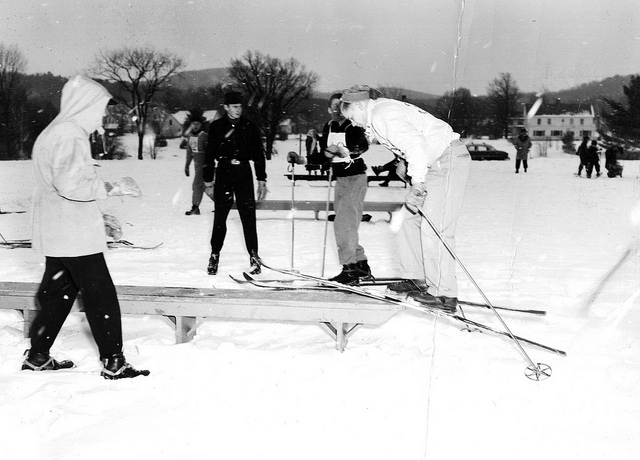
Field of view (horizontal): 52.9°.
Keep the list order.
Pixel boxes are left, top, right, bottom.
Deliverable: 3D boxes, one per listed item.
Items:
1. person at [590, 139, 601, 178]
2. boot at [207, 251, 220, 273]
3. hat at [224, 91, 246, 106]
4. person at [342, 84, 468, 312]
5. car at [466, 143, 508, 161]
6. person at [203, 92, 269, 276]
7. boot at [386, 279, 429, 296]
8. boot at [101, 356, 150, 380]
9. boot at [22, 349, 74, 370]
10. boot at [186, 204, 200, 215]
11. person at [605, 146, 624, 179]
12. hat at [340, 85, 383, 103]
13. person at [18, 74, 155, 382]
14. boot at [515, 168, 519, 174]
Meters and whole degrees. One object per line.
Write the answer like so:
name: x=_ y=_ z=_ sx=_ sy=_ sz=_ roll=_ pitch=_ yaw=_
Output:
person: x=8.264 y=-2.145 z=19.220 sx=0.380 sy=1.110 sz=1.335 roll=6 pitch=16 yaw=22
boot: x=-1.244 y=0.375 z=7.499 sx=0.124 sy=0.258 sz=0.106 roll=-4 pitch=16 yaw=-14
hat: x=-0.942 y=-1.463 z=7.154 sx=0.234 sy=0.146 sz=0.243 roll=-4 pitch=15 yaw=-14
person: x=0.786 y=-0.281 z=5.657 sx=0.986 sy=1.921 sz=0.487 roll=3 pitch=16 yaw=11
car: x=6.848 y=-3.149 z=26.162 sx=1.611 sy=0.582 sz=0.799 roll=5 pitch=15 yaw=20
person: x=-0.978 y=-0.501 z=7.342 sx=0.704 sy=2.081 sz=0.450 roll=-1 pitch=15 yaw=-3
boot: x=0.804 y=0.520 z=5.914 sx=0.384 sy=0.155 sz=0.124 roll=3 pitch=1 yaw=5
boot: x=-1.532 y=1.082 z=5.098 sx=0.353 sy=0.159 sz=0.129 roll=-1 pitch=3 yaw=-13
boot: x=-2.202 y=1.035 z=5.259 sx=0.409 sy=0.169 sz=0.140 roll=-2 pitch=4 yaw=-20
boot: x=-2.387 y=-0.373 z=12.254 sx=0.292 sy=0.202 sz=0.126 roll=5 pitch=4 yaw=3
person: x=8.744 y=-2.019 z=19.025 sx=0.508 sy=0.875 sz=0.997 roll=6 pitch=16 yaw=23
hat: x=0.352 y=-1.180 z=5.613 sx=0.257 sy=0.104 sz=0.201 roll=-4 pitch=11 yaw=-9
person: x=-1.936 y=-0.023 z=5.066 sx=0.971 sy=2.316 sz=0.941 roll=-6 pitch=16 yaw=-19
boot: x=6.615 y=-1.965 z=21.530 sx=0.146 sy=0.098 sz=0.202 roll=12 pitch=-18 yaw=22
